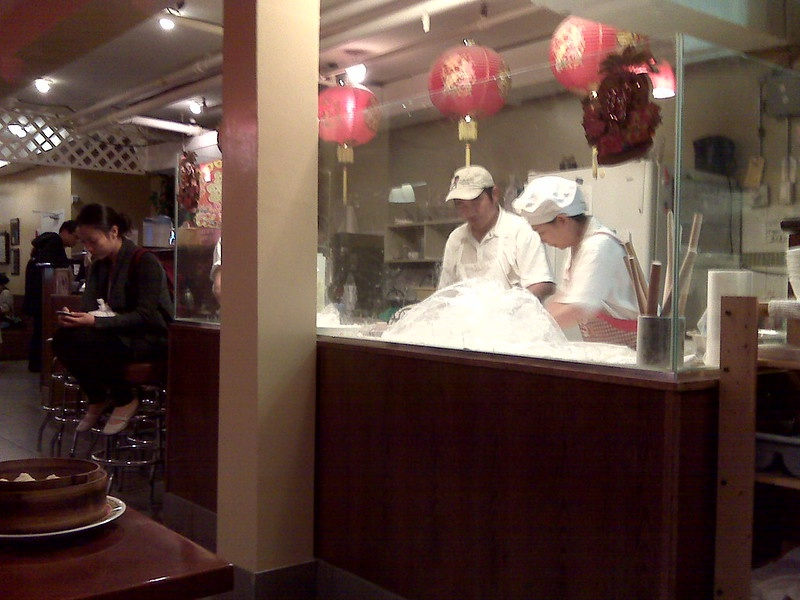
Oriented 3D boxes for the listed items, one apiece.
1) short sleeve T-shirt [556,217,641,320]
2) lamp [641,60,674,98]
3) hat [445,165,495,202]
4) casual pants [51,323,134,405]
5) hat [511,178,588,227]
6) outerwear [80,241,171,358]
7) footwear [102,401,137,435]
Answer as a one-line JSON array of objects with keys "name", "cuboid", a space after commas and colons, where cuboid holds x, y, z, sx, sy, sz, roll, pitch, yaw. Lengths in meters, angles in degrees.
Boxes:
[{"name": "short sleeve T-shirt", "cuboid": [0.495, -0.056, 1.873, 0.202, 0.291, 0.311, -2, 4, 6]}, {"name": "lamp", "cuboid": [0.630, -0.540, 1.753, 0.072, 0.084, 0.073, -5, -3, 12]}, {"name": "hat", "cuboid": [0.198, -0.350, 2.134, 0.088, 0.071, 0.119, -1, 10, 38]}, {"name": "casual pants", "cuboid": [-1.636, 0.373, 3.812, 0.407, 0.446, 0.355, -8, -18, 1]}, {"name": "hat", "cuboid": [0.412, -0.267, 1.905, 0.125, 0.079, 0.134, 2, 11, 27]}, {"name": "outerwear", "cuboid": [-1.483, -0.039, 3.765, 0.429, 0.616, 0.470, 2, 4, 36]}, {"name": "footwear", "cuboid": [-1.430, 0.605, 3.667, 0.107, 0.228, 0.060, -16, -47, 35]}]
